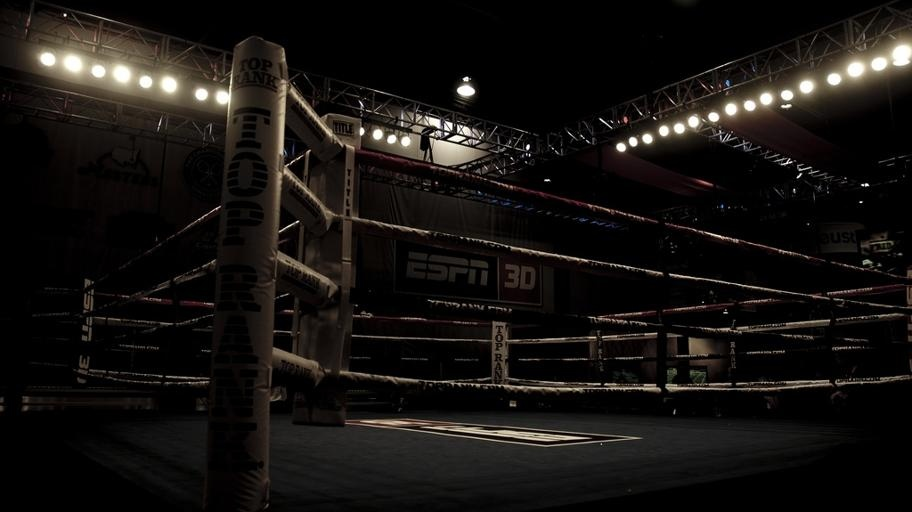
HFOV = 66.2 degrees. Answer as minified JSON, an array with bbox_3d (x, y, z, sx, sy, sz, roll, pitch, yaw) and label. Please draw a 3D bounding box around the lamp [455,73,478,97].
[{"bbox_3d":[0.260,-4.390,18.040,0.539,0.440,0.795,1,10,-1],"label":"lamp"}]
